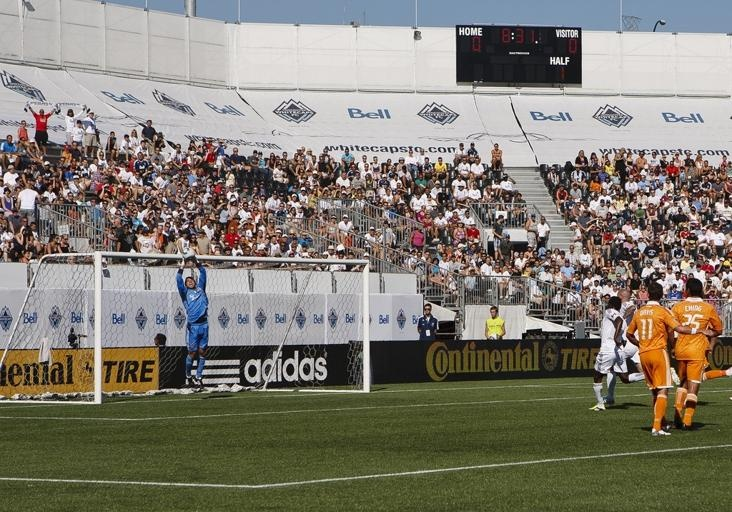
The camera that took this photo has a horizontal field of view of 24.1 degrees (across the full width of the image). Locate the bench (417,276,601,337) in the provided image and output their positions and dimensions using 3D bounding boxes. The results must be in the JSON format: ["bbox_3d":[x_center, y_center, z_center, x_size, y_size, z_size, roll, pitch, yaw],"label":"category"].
[{"bbox_3d":[5.180,1.638,62.135,6.360,2.493,0.884,-2,-8,-2],"label":"bench"}]

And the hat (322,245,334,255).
[{"bbox_3d":[-1.401,-0.242,62.620,0.265,0.203,0.379,1,-15,0],"label":"hat"}]

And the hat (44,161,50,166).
[{"bbox_3d":[-12.066,-3.533,64.627,0.289,0.151,0.400,2,6,-17],"label":"hat"}]

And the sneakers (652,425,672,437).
[{"bbox_3d":[8.173,4.768,47.677,0.597,0.275,0.208,-3,5,-13],"label":"sneakers"}]
